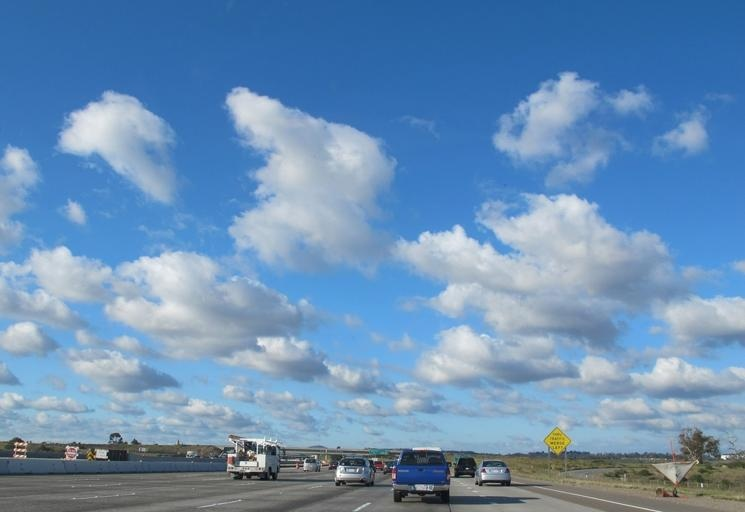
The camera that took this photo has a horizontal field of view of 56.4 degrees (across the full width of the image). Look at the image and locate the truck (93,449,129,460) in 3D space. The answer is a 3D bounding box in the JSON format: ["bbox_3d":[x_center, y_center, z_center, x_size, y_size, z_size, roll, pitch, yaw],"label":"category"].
[{"bbox_3d":[-32.440,24.372,85.992,4.338,1.421,2.900,-11,-27,31],"label":"truck"}]

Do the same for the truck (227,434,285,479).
[{"bbox_3d":[-12.047,18.492,66.307,3.918,3.833,6.328,5,-2,-13],"label":"truck"}]
